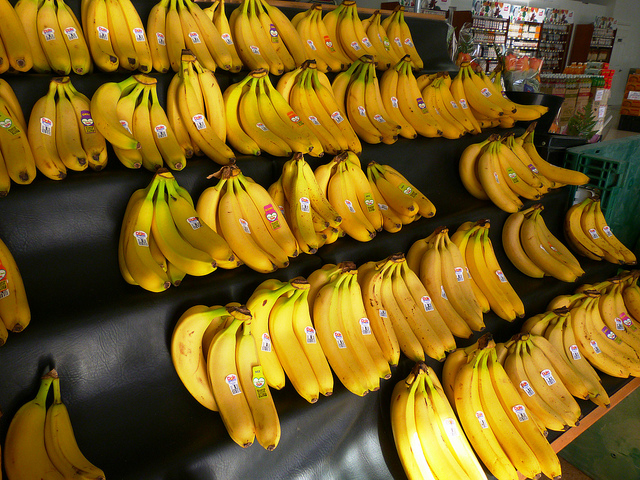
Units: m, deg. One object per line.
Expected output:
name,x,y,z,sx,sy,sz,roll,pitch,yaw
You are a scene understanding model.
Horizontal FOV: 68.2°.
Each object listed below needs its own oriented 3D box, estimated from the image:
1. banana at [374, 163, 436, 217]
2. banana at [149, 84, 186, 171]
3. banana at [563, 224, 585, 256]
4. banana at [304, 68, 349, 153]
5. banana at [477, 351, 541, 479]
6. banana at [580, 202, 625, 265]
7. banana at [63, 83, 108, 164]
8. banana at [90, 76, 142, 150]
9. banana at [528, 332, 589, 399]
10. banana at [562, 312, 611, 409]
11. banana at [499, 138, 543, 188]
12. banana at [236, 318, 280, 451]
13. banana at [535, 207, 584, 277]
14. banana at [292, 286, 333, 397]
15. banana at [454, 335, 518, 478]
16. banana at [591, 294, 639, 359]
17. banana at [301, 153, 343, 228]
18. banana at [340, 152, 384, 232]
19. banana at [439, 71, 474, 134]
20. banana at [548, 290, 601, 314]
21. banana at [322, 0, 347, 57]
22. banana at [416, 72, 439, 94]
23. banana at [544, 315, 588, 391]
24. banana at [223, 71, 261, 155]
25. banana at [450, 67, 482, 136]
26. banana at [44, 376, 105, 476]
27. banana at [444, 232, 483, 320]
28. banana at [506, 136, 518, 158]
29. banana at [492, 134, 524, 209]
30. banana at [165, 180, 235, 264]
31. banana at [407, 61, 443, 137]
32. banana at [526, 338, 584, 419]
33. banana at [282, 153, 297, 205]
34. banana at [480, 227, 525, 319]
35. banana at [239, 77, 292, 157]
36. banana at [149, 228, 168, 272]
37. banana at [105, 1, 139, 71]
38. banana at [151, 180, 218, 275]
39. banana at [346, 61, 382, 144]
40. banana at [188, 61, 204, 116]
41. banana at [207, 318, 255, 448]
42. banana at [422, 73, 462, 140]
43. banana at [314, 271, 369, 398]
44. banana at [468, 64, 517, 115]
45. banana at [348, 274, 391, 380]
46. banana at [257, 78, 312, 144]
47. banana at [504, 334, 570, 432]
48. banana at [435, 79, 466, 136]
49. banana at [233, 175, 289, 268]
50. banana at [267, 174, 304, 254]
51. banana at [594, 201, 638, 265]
banana,0.440,-0.265,2.535,0.337,0.089,0.113,47,7,-2
banana,-0.646,-0.467,2.019,0.069,0.385,0.127,-17,-11,-6
banana,1.654,0.016,3.129,0.070,0.049,0.217,-20,79,-31
banana,0.028,-0.654,2.435,0.076,0.511,0.168,-25,-10,24
banana,0.853,0.822,2.154,0.092,0.205,0.596,-18,73,-6
banana,1.836,-0.044,3.101,0.216,0.357,0.107,-31,-4,-20
banana,-0.934,-0.452,1.883,0.078,0.326,0.105,-21,-6,3
banana,-0.818,-0.525,1.935,0.198,0.094,0.389,-2,57,-19
banana,1.195,0.646,2.393,0.358,0.114,0.096,51,19,9
banana,1.402,0.655,2.509,0.153,0.497,0.082,-13,-12,-42
banana,1.217,-0.462,2.893,0.064,0.108,0.333,-30,86,-22
banana,-0.248,0.581,1.852,0.093,0.502,0.152,-19,-10,39
banana,1.451,0.034,2.850,0.088,0.532,0.197,-33,14,13
banana,-0.031,0.440,1.990,0.075,0.436,0.132,-9,-9,-21
banana,0.746,0.779,2.137,0.192,0.614,0.102,-26,-20,25
banana,1.669,0.505,2.695,0.050,0.336,0.111,-28,-7,4
banana,0.012,-0.217,2.200,0.068,0.341,0.110,-24,-14,21
banana,0.204,-0.222,2.346,0.074,0.393,0.122,-18,8,20
banana,0.840,-0.837,2.918,0.078,0.427,0.136,-25,-15,33
banana,1.422,0.353,2.655,0.248,0.107,0.077,-14,-3,-4
banana,0.079,-1.328,2.947,0.095,0.449,0.137,-1,-6,-43
banana,0.657,-0.991,2.943,0.082,0.066,0.232,-4,30,27
banana,1.270,0.600,2.464,0.350,0.115,0.078,58,30,2
banana,-0.354,-0.602,2.288,0.185,0.118,0.497,-11,65,-4
banana,0.911,-0.855,2.950,0.075,0.467,0.151,-17,-21,28
banana,-0.870,0.665,1.666,0.063,0.139,0.353,-16,63,-50
banana,0.737,0.194,2.438,0.075,0.416,0.138,-15,4,-7
banana,1.177,-0.591,2.931,0.038,0.182,0.058,-18,12,-13
banana,1.166,-0.360,2.920,0.084,0.635,0.231,-19,49,27
banana,-0.516,-0.076,1.861,0.125,0.450,0.112,-15,42,18
banana,0.603,-0.917,2.848,0.434,0.149,0.081,33,27,-50
banana,1.151,0.700,2.341,0.072,0.123,0.385,-25,81,-20
banana,-0.138,-0.280,2.171,0.055,0.240,0.076,3,-4,33
banana,1.017,0.196,2.637,0.072,0.470,0.156,-17,-5,-3
banana,-0.265,-0.569,2.246,0.079,0.387,0.131,-19,-9,-14
banana,-0.631,0.042,1.852,0.032,0.160,0.050,-20,-1,10
banana,-0.904,-0.934,2.215,0.093,0.133,0.446,-12,77,-14
banana,-0.541,-0.037,1.871,0.111,0.144,0.400,-3,55,-50
banana,0.238,-0.710,2.610,0.190,0.633,0.151,-11,-16,41
banana,-0.553,-0.680,2.107,0.036,0.264,0.034,-6,-13,-44
banana,-0.354,0.561,1.814,0.137,0.586,0.176,1,-9,-30
banana,0.729,-0.794,2.860,0.139,0.424,0.095,-21,-5,-20
banana,0.087,0.438,2.077,0.187,0.107,0.555,-29,56,7
banana,1.035,-0.901,2.966,0.421,0.134,0.089,35,38,-17
banana,0.216,0.402,2.101,0.072,0.463,0.142,-14,2,-20
banana,-0.173,-0.621,2.304,0.069,0.362,0.121,-31,-3,-20
banana,1.034,0.705,2.278,0.093,0.456,0.150,-24,-2,6
banana,0.790,-0.798,2.885,0.118,0.063,0.388,6,65,-38
banana,-0.258,-0.066,2.020,0.072,0.383,0.130,-22,-7,-4
banana,-0.149,-0.110,2.087,0.061,0.112,0.337,-17,78,-15
banana,1.991,-0.059,3.204,0.080,0.144,0.449,-14,75,-41
